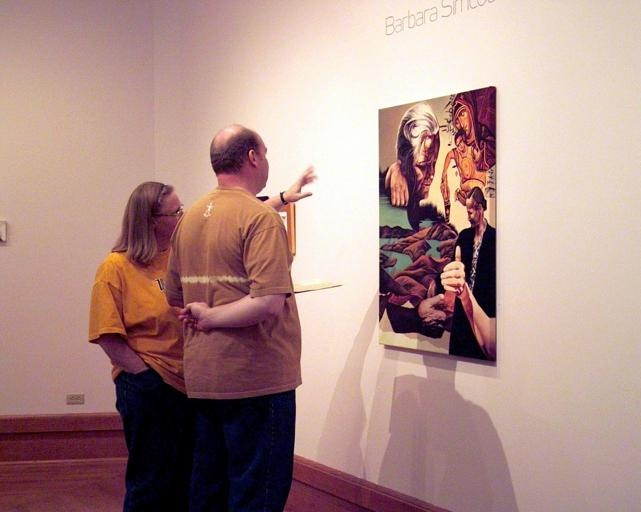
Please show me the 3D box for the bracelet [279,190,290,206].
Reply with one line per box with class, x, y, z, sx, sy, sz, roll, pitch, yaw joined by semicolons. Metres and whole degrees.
bracelet;-0.208;-0.345;3.078;0.045;0.082;0.076;1;44;3
